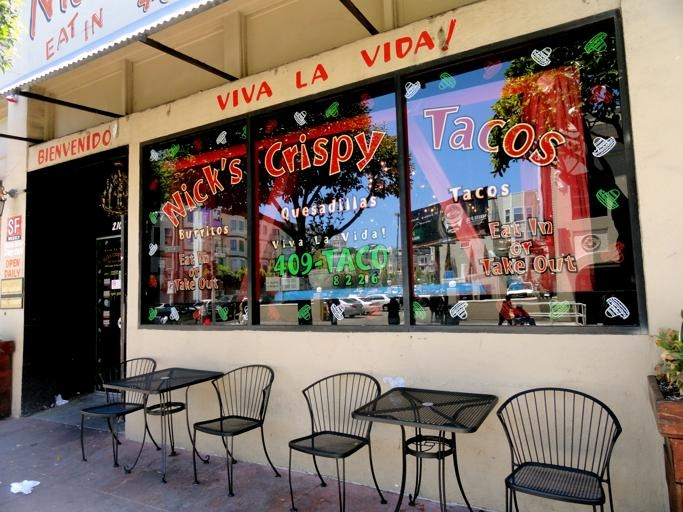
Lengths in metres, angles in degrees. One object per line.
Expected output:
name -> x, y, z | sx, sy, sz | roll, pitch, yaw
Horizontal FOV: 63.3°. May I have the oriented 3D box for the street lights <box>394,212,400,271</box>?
street lights -> 0.534, -0.141, 5.262 | 0.058, 0.530, 0.114 | -2, 5, 9
